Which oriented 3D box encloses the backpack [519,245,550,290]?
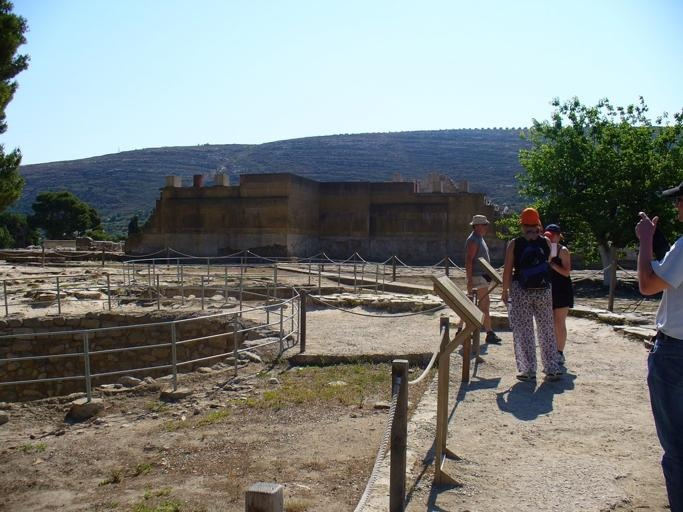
[{"bbox_3d":[2.615,0.153,7.915,0.390,0.584,0.178,2,4,16],"label":"backpack"}]
